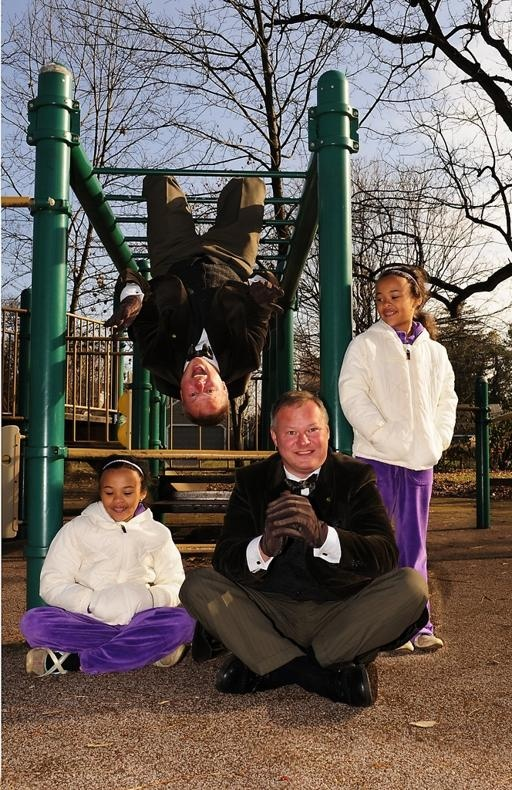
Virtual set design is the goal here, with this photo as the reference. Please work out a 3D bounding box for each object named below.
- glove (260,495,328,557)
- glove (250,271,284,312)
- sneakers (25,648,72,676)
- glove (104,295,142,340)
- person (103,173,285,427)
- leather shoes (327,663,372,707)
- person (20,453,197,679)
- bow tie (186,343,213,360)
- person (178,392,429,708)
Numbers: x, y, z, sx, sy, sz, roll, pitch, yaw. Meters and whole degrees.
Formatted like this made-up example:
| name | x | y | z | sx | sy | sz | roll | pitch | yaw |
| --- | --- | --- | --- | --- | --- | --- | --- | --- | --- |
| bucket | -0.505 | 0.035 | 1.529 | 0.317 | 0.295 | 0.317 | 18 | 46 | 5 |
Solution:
| name | x | y | z | sx | sy | sz | roll | pitch | yaw |
| --- | --- | --- | --- | --- | --- | --- | --- | --- | --- |
| glove | 0.119 | 0.432 | 2.549 | 0.226 | 0.222 | 0.207 | -1 | -5 | 5 |
| glove | 0.098 | -0.510 | 3.862 | 0.065 | 0.205 | 0.161 | -23 | -6 | -37 |
| sneakers | -0.793 | 1.017 | 2.974 | 0.059 | 0.084 | 0.168 | -7 | -7 | 28 |
| glove | -0.647 | -0.392 | 3.849 | 0.160 | 0.216 | 0.435 | 0 | -5 | -8 |
| person | -0.368 | -0.482 | 4.452 | 0.997 | 1.824 | 0.537 | 7 | -44 | -1 |
| leather shoes | 0.315 | 0.951 | 2.554 | 0.106 | 0.128 | 0.164 | 1 | -5 | -16 |
| person | -0.592 | 0.681 | 3.177 | 0.628 | 0.827 | 0.750 | -6 | -12 | 38 |
| bow tie | -0.270 | -0.219 | 3.987 | 0.083 | 0.086 | 0.101 | 1 | -1 | -2 |
| person | 0.184 | 0.512 | 2.731 | 0.726 | 1.047 | 0.602 | -4 | -6 | 35 |
